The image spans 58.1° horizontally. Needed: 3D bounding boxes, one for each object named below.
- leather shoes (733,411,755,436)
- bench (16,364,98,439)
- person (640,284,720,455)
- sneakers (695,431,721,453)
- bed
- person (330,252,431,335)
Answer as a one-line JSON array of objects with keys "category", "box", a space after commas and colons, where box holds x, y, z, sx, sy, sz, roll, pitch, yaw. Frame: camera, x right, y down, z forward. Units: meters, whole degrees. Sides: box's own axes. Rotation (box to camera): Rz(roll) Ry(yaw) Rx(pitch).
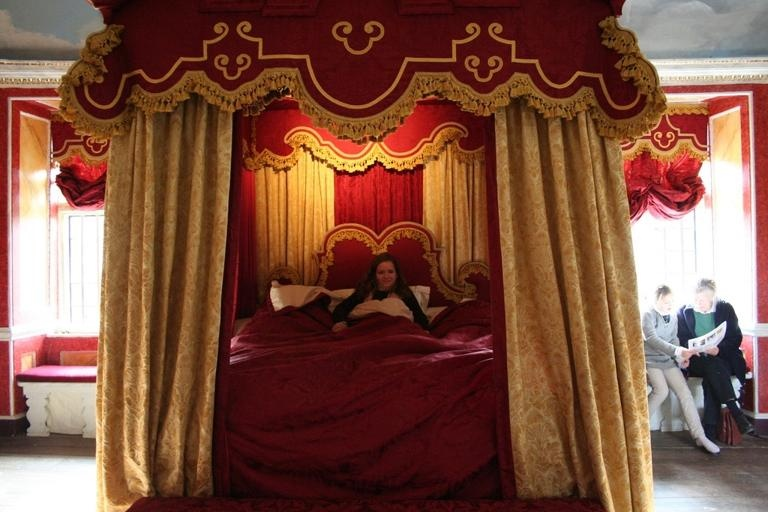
[{"category": "leather shoes", "box": [3.615, 1.676, 6.897, 0.121, 0.253, 0.366, -5, 27, 15]}, {"category": "bench", "box": [-3.380, 1.561, 7.360, 0.892, 0.592, 0.523, 2, -5, -15]}, {"category": "person", "box": [2.942, 1.094, 6.914, 0.582, 1.627, 0.387, -3, -7, 20]}, {"category": "sneakers", "box": [3.127, 1.812, 6.706, 0.112, 0.202, 0.291, -28, -1, -13]}, {"category": "bed", "box": [-0.108, 0.750, 6.094, 1.997, 1.265, 2.030, 0, 6, 5]}, {"category": "person", "box": [-0.015, 0.384, 6.805, 0.945, 0.418, 1.293, -1, 22, -5]}]
